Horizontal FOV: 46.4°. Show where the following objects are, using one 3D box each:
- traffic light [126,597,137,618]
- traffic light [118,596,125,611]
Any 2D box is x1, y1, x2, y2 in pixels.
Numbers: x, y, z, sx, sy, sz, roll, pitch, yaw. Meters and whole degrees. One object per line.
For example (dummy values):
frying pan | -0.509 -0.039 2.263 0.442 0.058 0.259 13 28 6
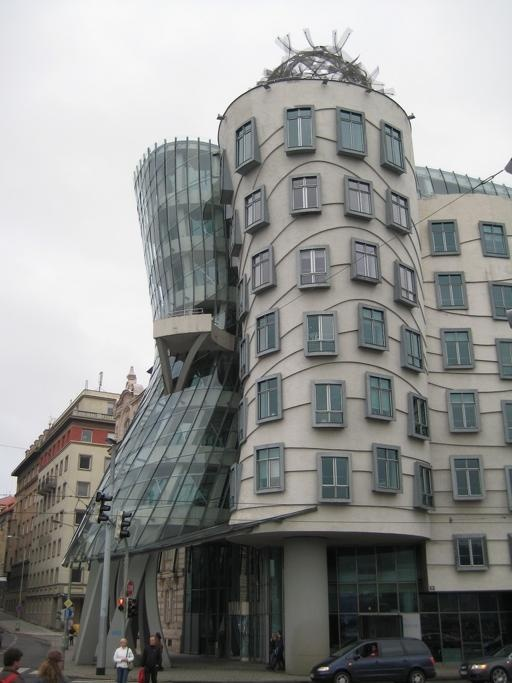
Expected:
traffic light | -5.353 11.471 25.735 0.396 0.708 0.640 8 -28 -14
traffic light | -5.848 11.556 26.200 0.296 0.546 1.341 6 -29 -10
